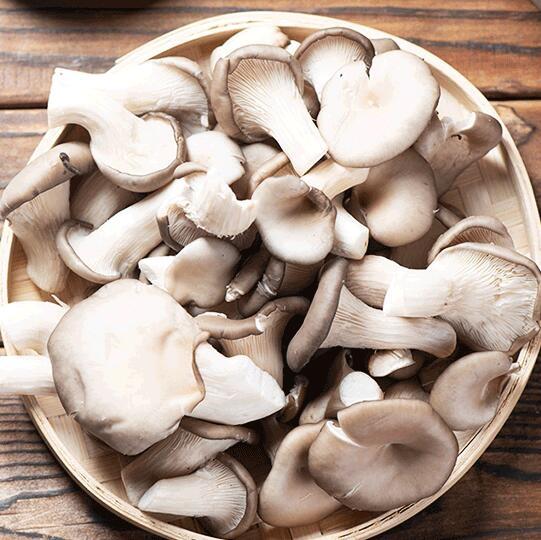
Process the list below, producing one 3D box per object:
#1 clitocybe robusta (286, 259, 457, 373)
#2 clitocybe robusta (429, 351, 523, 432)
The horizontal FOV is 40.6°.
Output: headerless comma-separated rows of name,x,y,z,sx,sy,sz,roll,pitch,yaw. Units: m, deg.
clitocybe robusta,0.325,0.191,2.391,0.645,0.326,0.303,13,69,4
clitocybe robusta,0.611,0.408,2.400,0.297,0.304,0.256,4,41,1
